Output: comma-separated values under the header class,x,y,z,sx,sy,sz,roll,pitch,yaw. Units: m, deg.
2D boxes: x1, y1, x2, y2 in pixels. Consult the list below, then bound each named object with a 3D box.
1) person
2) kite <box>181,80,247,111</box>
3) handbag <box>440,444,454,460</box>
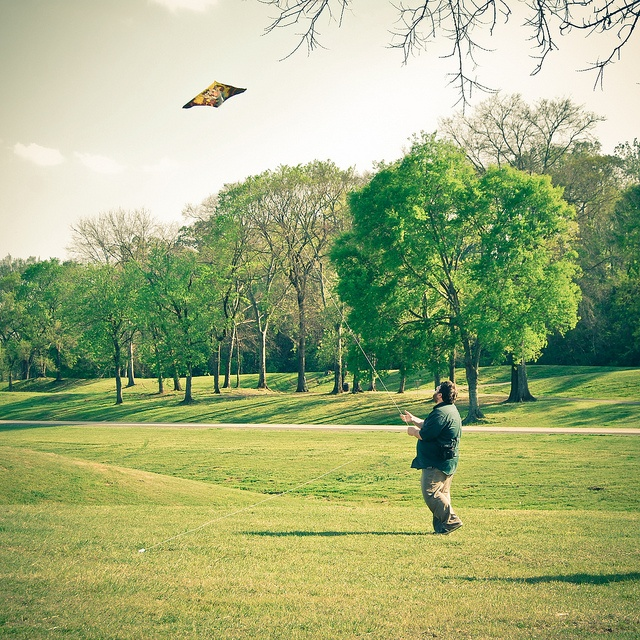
class,x,y,z,sx,sy,sz,roll,pitch,yaw
person,2.576,3.062,23.657,1.018,3.298,0.532,1,4,7
kite,-2.188,-4.643,22.288,1.063,0.748,2.029,1,4,-8
handbag,2.766,2.930,23.588,0.359,0.336,0.092,0,4,-23
